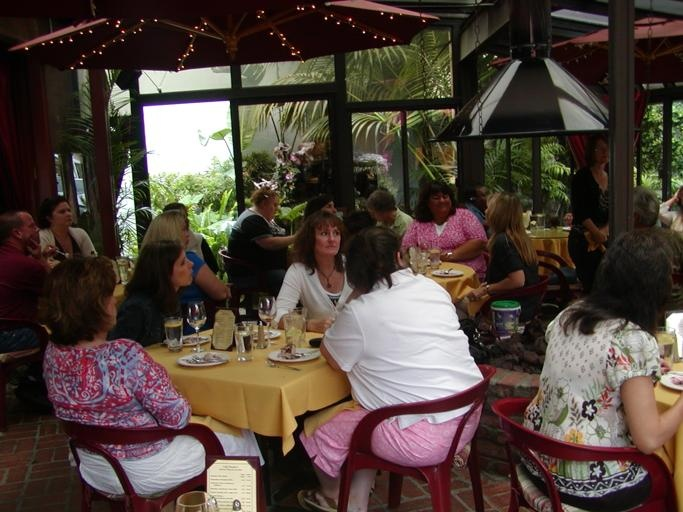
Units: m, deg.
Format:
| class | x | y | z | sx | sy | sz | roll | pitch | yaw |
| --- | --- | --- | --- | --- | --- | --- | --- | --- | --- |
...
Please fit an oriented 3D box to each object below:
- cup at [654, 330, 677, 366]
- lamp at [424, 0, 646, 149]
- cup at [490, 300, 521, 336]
| class | x | y | z | sx | sy | sz | roll | pitch | yaw |
| --- | --- | --- | --- | --- | --- | --- | --- | --- | --- |
| cup | 1.510 | 0.427 | 2.535 | 0.105 | 0.160 | 0.067 | -11 | 12 | -41 |
| lamp | 1.249 | -1.029 | 3.730 | 0.975 | 1.135 | 1.024 | -6 | 9 | 1 |
| cup | 1.040 | 0.404 | 3.577 | 0.190 | 0.230 | 0.201 | 0 | 0 | 0 |
